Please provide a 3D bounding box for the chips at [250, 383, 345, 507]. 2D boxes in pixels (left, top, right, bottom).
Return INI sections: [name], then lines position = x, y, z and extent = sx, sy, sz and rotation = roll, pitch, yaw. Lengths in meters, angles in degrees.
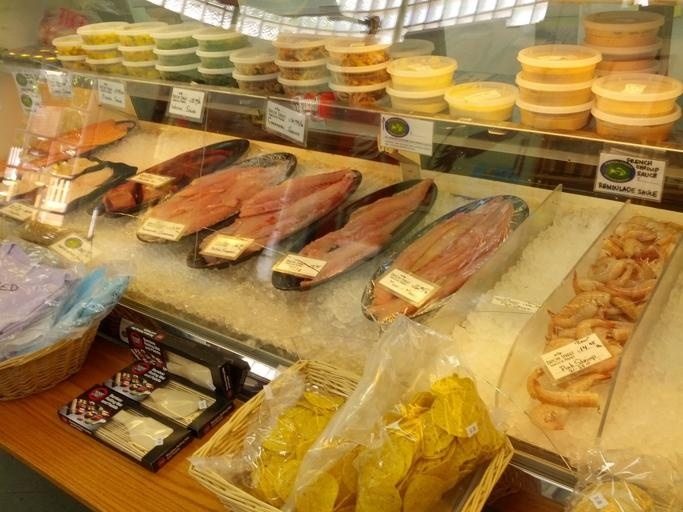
[chips]
position = -0.081, 0.524, 1.309
extent = 0.297, 0.206, 0.282
rotation = -12, 28, -21
